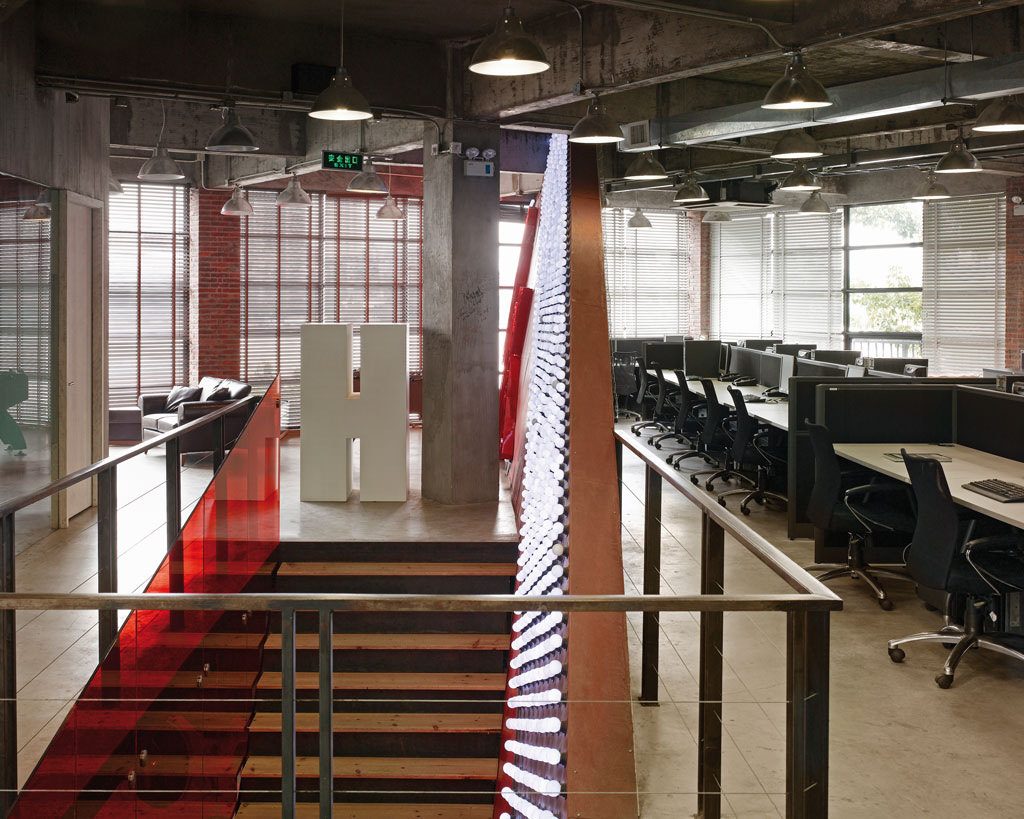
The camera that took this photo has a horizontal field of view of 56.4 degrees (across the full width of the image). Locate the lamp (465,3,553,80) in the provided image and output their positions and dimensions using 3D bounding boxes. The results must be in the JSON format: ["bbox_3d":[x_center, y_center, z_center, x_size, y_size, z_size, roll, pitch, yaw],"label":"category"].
[{"bbox_3d":[-0.036,-1.855,4.924,0.404,0.387,0.399,0,1,6],"label":"lamp"}]

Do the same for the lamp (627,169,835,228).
[{"bbox_3d":[3.159,-3.015,13.512,1.559,0.345,1.627,-1,3,-18],"label":"lamp"}]

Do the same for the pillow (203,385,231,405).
[{"bbox_3d":[-3.596,-0.195,11.684,0.283,0.142,0.526,-2,8,-15],"label":"pillow"}]

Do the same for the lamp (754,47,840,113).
[{"bbox_3d":[1.683,-2.003,5.732,0.355,0.380,0.470,1,8,4],"label":"lamp"}]

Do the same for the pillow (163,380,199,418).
[{"bbox_3d":[-4.391,-0.182,12.675,0.453,0.420,0.133,-1,-32,31],"label":"pillow"}]
